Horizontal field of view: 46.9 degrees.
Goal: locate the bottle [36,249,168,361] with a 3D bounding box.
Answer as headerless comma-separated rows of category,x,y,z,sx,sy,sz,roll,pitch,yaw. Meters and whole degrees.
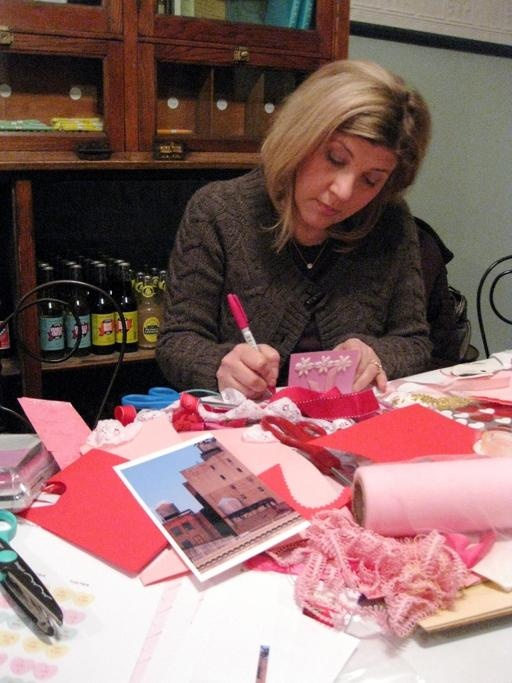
bottle,-0.441,-0.093,1.667,0.357,0.297,0.116,-8,16,-33

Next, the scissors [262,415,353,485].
scissors,0.067,0.122,0.708,0.048,0.014,0.123,6,13,-28

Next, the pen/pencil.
pen/pencil,-0.005,0.004,1.061,0.024,0.210,0.022,-16,22,24

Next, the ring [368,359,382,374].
ring,0.213,0.042,1.048,0.023,0.027,0.011,5,52,22
